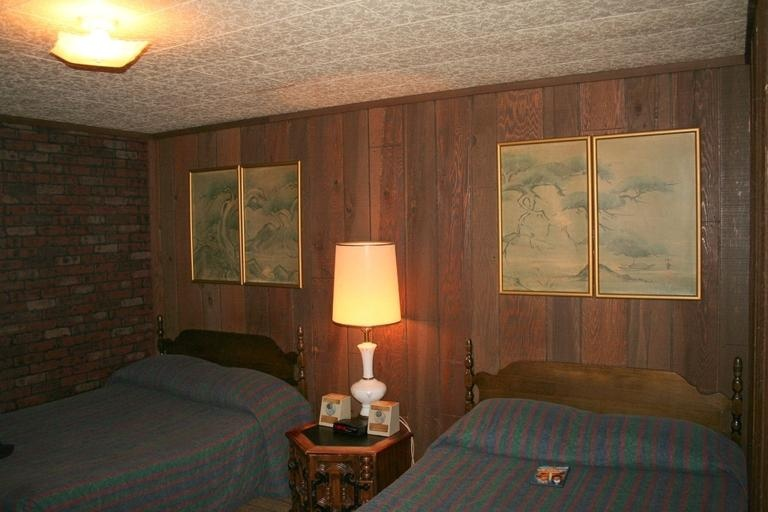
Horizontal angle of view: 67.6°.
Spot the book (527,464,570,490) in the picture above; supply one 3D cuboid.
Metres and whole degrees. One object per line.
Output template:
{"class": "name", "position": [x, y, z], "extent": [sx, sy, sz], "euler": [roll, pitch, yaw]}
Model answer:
{"class": "book", "position": [0.928, 1.219, 3.208], "extent": [0.182, 0.050, 0.202], "euler": [0, 2, 18]}

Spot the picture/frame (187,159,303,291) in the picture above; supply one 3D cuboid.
{"class": "picture/frame", "position": [-1.119, -0.276, 4.804], "extent": [1.257, 0.859, 0.047], "euler": [2, 4, 30]}

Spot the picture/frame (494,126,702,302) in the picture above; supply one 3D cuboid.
{"class": "picture/frame", "position": [1.349, -0.264, 3.707], "extent": [1.217, 1.042, 0.045], "euler": [0, 2, 21]}
